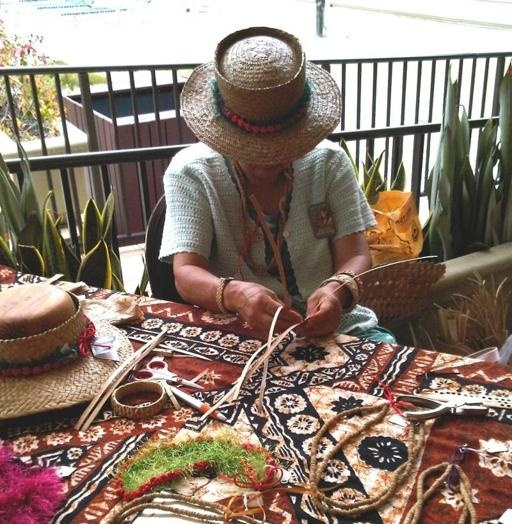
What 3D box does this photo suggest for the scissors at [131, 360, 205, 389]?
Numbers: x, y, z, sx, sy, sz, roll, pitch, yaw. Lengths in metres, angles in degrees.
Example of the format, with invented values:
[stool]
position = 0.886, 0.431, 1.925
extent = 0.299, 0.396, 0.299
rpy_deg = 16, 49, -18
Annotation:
[scissors]
position = -0.165, 0.223, 0.941
extent = 0.132, 0.016, 0.076
rpy_deg = 11, 20, 23

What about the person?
[person]
position = 0.014, -0.137, 1.412
extent = 0.758, 0.888, 0.621
rpy_deg = -12, 35, -7

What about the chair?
[chair]
position = -0.319, -0.043, 1.596
extent = 0.156, 0.310, 0.175
rpy_deg = -9, 26, -29

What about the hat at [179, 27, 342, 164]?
[hat]
position = 0.017, -0.450, 1.216
extent = 0.404, 0.143, 0.381
rpy_deg = 19, 66, 8
